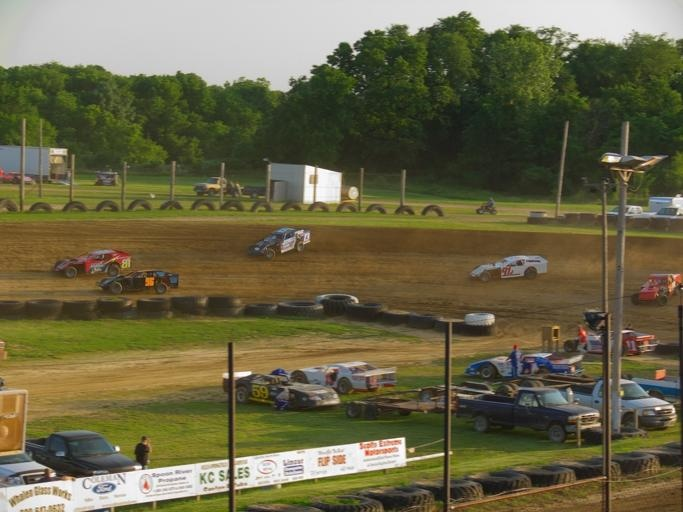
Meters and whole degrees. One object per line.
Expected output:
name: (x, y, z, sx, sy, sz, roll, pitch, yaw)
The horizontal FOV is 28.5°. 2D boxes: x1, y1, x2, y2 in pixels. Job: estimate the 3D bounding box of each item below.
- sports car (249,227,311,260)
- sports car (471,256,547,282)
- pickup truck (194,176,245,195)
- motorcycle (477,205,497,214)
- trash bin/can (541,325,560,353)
sports car: (-3.911, -0.949, 86.264, 1.820, 0.947, 3.774, 9, 16, 44)
sports car: (10.530, 0.828, 82.265, 4.442, 1.498, 2.648, -17, 4, 10)
pickup truck: (-10.955, -6.499, 121.546, 5.215, 1.347, 2.264, 1, -1, -29)
motorcycle: (11.732, -3.666, 107.963, 1.622, 0.620, 0.575, 5, 13, -3)
trash bin/can: (11.013, 4.239, 70.581, 0.775, 1.222, 1.670, 1, 0, 5)
